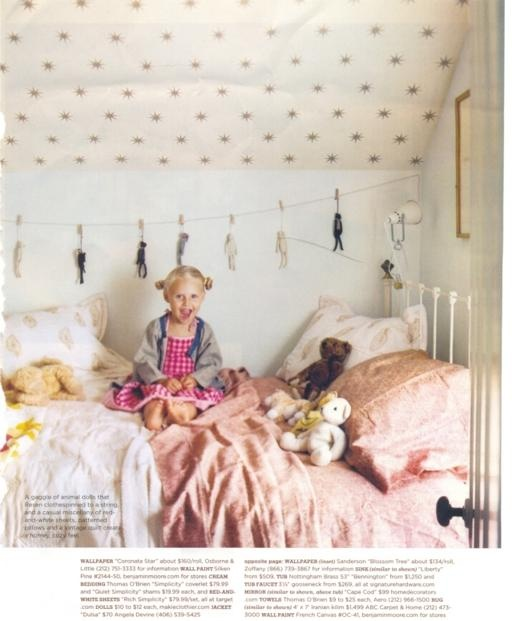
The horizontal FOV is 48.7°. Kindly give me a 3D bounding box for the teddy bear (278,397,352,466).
[{"bbox_3d":[0.182,0.344,1.665,0.173,0.188,0.199,4,6,-44],"label":"teddy bear"}]

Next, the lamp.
[{"bbox_3d":[0.512,-0.224,1.980,0.136,0.312,0.100,2,-10,34],"label":"lamp"}]

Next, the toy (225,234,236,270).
[{"bbox_3d":[-0.091,-0.204,1.986,0.041,0.127,0.029,1,-3,-2],"label":"toy"}]

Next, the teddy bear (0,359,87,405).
[{"bbox_3d":[-0.718,0.245,1.888,0.177,0.070,0.176,20,25,36],"label":"teddy bear"}]

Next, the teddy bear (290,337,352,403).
[{"bbox_3d":[0.236,0.207,1.972,0.156,0.222,0.078,43,20,17],"label":"teddy bear"}]

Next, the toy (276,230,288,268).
[{"bbox_3d":[0.088,-0.214,1.983,0.041,0.124,0.028,1,-3,2],"label":"toy"}]

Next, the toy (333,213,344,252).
[{"bbox_3d":[0.286,-0.273,1.978,0.041,0.130,0.034,1,-3,4],"label":"toy"}]

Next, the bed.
[{"bbox_3d":[-0.010,0.371,1.652,1.160,0.464,0.790,-1,39,1],"label":"bed"}]
